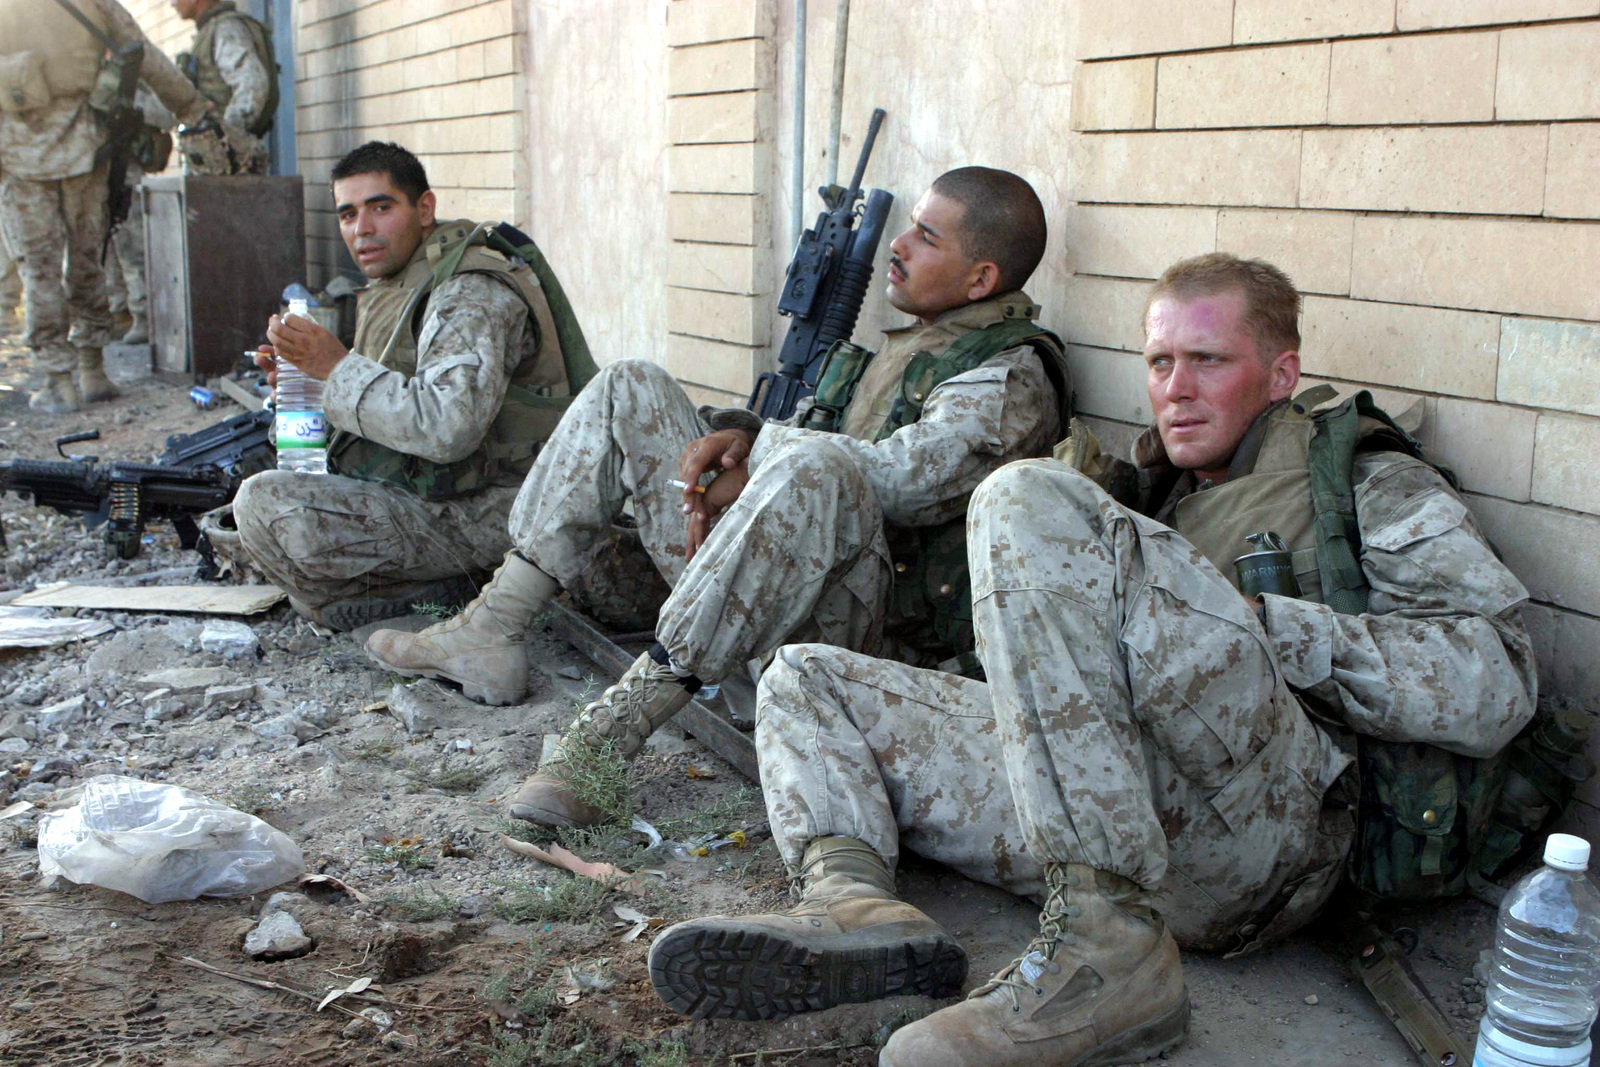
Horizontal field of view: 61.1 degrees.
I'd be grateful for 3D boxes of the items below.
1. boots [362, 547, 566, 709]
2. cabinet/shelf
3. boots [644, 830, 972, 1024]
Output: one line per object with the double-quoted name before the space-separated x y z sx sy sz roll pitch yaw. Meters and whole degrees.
"boots" -1.241 0.295 4.938 0.685 0.528 0.286 16 14 12
"cabinet/shelf" -4.338 -1.888 10.180 0.820 1.428 1.018 -8 15 -42
"boots" 0.010 0.939 3.292 0.913 0.317 0.653 1 17 -10
